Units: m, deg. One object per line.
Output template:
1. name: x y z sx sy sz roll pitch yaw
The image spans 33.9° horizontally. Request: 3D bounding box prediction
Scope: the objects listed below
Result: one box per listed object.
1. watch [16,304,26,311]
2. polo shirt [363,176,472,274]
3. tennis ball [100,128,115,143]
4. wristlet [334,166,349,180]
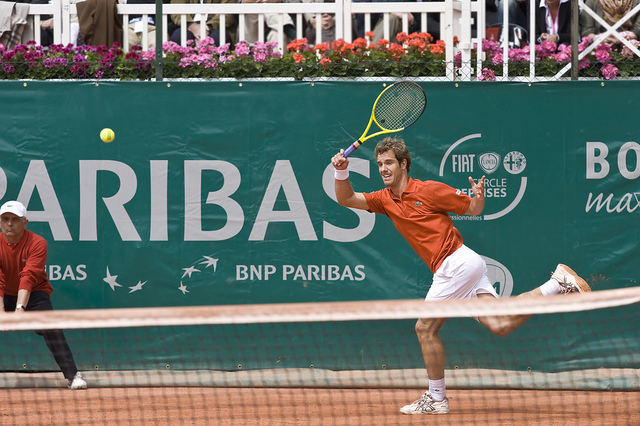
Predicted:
1. watch: -2.987 0.952 10.457 0.064 0.049 0.071 9 -3 -40
2. polo shirt: 0.999 0.131 10.341 0.749 0.612 0.352 -23 -10 41
3. tennis ball: -2.238 -0.812 11.024 0.128 0.142 0.135 2 42 -2
4. wristlet: 0.207 -0.382 10.166 0.102 0.090 0.111 -2 21 5
